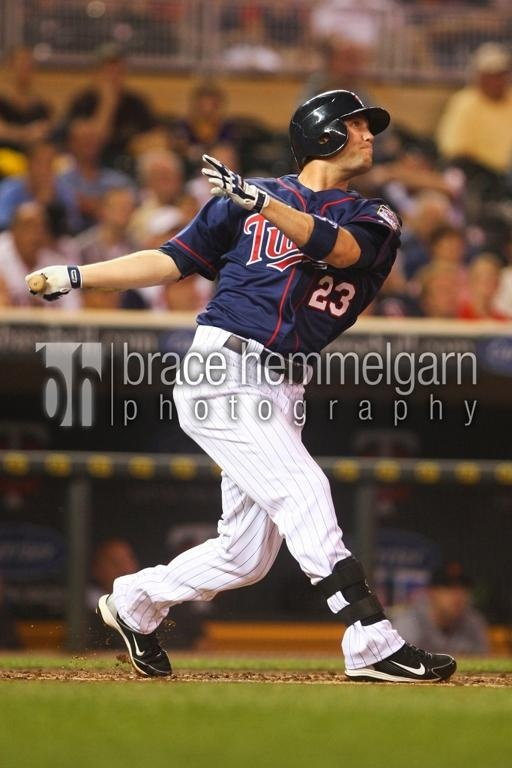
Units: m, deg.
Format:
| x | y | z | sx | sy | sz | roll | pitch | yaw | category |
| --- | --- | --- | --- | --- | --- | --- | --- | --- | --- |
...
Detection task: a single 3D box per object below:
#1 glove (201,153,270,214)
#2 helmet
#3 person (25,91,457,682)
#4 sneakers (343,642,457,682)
| x | y | z | sx | sy | sz | roll | pitch | yaw | category |
| --- | --- | --- | --- | --- | --- | --- | --- | --- | --- |
| -0.052 | -0.495 | 2.667 | 0.195 | 0.061 | 0.120 | 28 | 22 | -10 | glove |
| 0.210 | -0.718 | 3.046 | 0.296 | 0.199 | 0.189 | -9 | -8 | 15 | helmet |
| 0.018 | 0.020 | 2.911 | 0.988 | 1.628 | 0.561 | -2 | 10 | 11 | person |
| 0.339 | 0.719 | 2.801 | 0.334 | 0.121 | 0.110 | -2 | -5 | -8 | sneakers |
